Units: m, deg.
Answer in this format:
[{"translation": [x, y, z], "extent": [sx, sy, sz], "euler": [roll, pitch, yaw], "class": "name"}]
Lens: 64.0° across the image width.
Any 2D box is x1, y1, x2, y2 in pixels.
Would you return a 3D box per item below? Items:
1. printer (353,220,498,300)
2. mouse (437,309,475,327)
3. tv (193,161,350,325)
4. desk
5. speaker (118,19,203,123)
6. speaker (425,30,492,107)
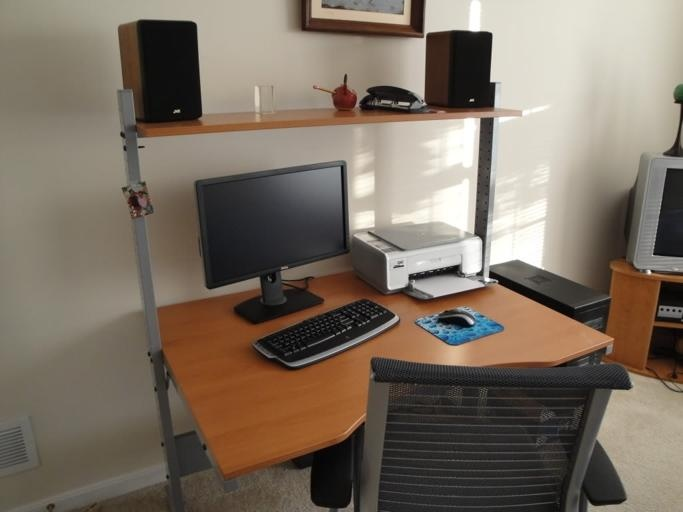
[{"translation": [0.367, 0.023, 2.435], "extent": [0.530, 0.199, 0.472], "euler": [-11, 22, -32], "class": "printer"}, {"translation": [0.444, 0.226, 2.090], "extent": [0.108, 0.035, 0.064], "euler": [15, 21, 41], "class": "mouse"}, {"translation": [-0.263, -0.077, 2.195], "extent": [0.641, 0.563, 0.221], "euler": [-14, 27, -31], "class": "tv"}, {"translation": [-0.008, 0.139, 2.023], "extent": [1.579, 1.659, 0.959], "euler": [-13, 21, -30], "class": "desk"}, {"translation": [-0.645, -0.613, 1.838], "extent": [0.294, 0.321, 0.185], "euler": [5, 21, 25], "class": "speaker"}, {"translation": [0.496, -0.786, 2.313], "extent": [0.200, 0.291, 0.239], "euler": [-8, 22, -20], "class": "speaker"}]
